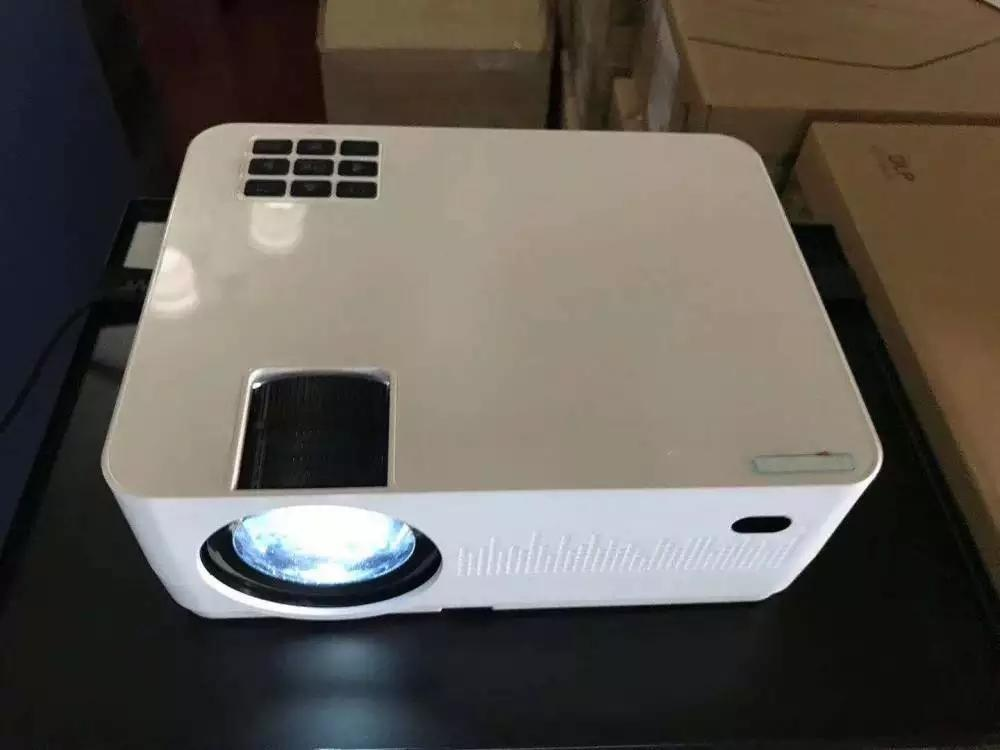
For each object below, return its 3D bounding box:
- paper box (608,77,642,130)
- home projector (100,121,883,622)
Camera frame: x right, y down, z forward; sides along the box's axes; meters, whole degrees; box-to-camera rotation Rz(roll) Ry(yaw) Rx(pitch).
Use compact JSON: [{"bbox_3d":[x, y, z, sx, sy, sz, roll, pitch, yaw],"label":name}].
[{"bbox_3d":[0.182,-0.380,1.258,0.069,0.019,0.082,-2,85,8],"label":"paper box"},{"bbox_3d":[-0.001,-0.014,0.825,0.592,0.260,0.377,1,43,-2],"label":"home projector"}]
